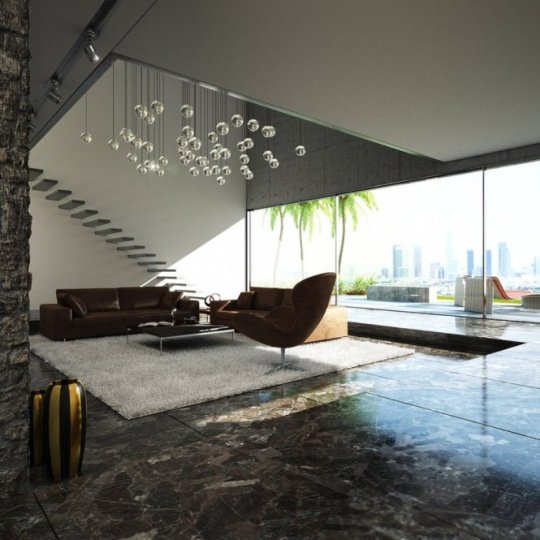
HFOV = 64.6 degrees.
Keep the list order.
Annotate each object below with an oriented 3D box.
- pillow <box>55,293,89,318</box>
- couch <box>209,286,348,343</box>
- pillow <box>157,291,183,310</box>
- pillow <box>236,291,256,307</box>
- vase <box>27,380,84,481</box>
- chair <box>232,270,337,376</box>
[{"bbox_3d":[-2.899,0.497,6.260,0.338,0.318,0.633,-2,3,-27],"label":"pillow"},{"bbox_3d":[0.098,0.486,4.685,1.175,0.756,1.263,5,3,39],"label":"couch"},{"bbox_3d":[-1.700,0.504,7.267,0.337,0.299,0.096,5,-26,44],"label":"pillow"},{"bbox_3d":[-0.401,0.472,6.849,0.262,0.235,0.105,7,-15,2],"label":"pillow"},{"bbox_3d":[-1.108,0.811,2.227,0.356,0.478,0.223,1,3,42],"label":"vase"},{"bbox_3d":[0.197,0.400,4.217,1.159,1.166,0.793,4,1,36],"label":"chair"}]
